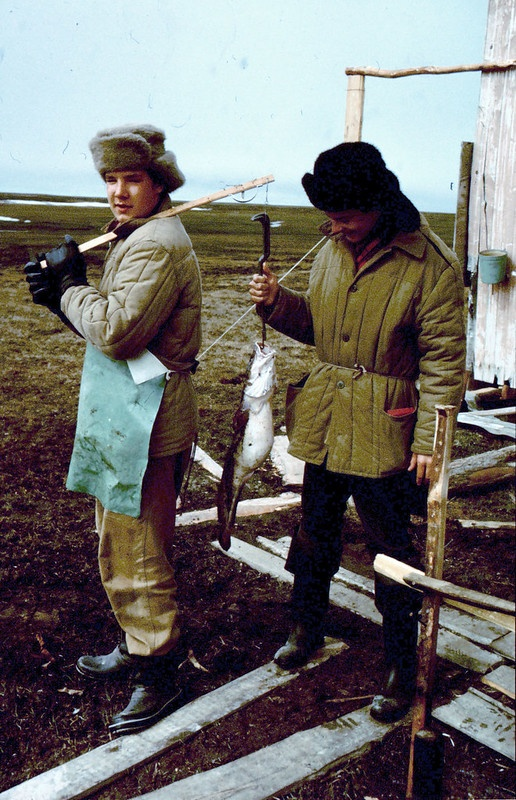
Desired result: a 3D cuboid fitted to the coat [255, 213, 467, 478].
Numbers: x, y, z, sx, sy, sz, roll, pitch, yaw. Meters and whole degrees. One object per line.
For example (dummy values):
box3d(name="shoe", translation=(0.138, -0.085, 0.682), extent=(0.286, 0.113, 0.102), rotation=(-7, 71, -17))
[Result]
box3d(name="coat", translation=(0.374, -0.187, 2.705), extent=(0.742, 0.911, 0.284), rotation=(12, 16, 39))

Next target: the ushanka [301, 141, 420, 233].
box3d(name="ushanka", translation=(0.355, -0.689, 2.471), extent=(0.349, 0.304, 0.183), rotation=(4, 12, 9))

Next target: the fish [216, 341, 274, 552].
box3d(name="fish", translation=(-0.134, 0.174, 2.852), extent=(0.168, 0.884, 0.323), rotation=(11, 17, -8))

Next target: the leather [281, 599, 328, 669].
box3d(name="leather", translation=(0.167, 0.948, 3.052), extent=(0.123, 0.272, 0.305), rotation=(5, 6, 26))

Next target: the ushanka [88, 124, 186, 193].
box3d(name="ushanka", translation=(-0.436, -0.880, 2.668), extent=(0.338, 0.176, 0.290), rotation=(5, 12, 27))

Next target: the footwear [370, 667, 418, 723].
box3d(name="footwear", translation=(0.475, 1.079, 2.738), extent=(0.120, 0.181, 0.199), rotation=(6, -8, 39))

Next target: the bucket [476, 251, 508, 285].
box3d(name="bucket", translation=(1.550, -0.895, 5.089), extent=(0.222, 0.224, 0.219), rotation=(-5, 28, 3))

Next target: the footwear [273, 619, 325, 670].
box3d(name="footwear", translation=(0.173, 1.008, 3.059), extent=(0.194, 0.136, 0.066), rotation=(-44, 29, -8))
